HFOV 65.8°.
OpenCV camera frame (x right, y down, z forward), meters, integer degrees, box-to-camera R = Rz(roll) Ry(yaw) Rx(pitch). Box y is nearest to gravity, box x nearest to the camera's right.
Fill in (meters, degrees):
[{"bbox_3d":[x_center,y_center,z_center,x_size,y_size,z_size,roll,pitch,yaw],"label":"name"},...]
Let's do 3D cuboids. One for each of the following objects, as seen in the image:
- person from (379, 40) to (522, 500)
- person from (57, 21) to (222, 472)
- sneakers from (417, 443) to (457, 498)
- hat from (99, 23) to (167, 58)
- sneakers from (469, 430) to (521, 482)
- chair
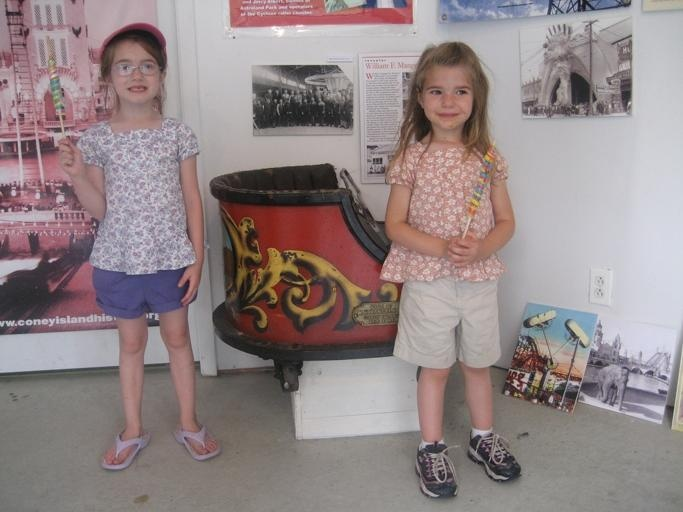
[{"bbox_3d":[0.413,0.038,1.926,0.532,1.559,0.517,1,14,4],"label":"person"},{"bbox_3d":[-0.758,-0.018,2.011,0.457,1.640,0.367,-4,14,-16],"label":"person"},{"bbox_3d":[0.345,0.780,1.962,0.124,0.138,0.307,-2,6,-6],"label":"sneakers"},{"bbox_3d":[-0.730,-0.782,1.942,0.187,0.086,0.236,-6,38,-29],"label":"hat"},{"bbox_3d":[0.578,0.751,2.012,0.123,0.128,0.280,-3,7,-15],"label":"sneakers"},{"bbox_3d":[-0.037,0.206,2.339,0.951,0.965,0.740,-1,11,2],"label":"chair"}]
